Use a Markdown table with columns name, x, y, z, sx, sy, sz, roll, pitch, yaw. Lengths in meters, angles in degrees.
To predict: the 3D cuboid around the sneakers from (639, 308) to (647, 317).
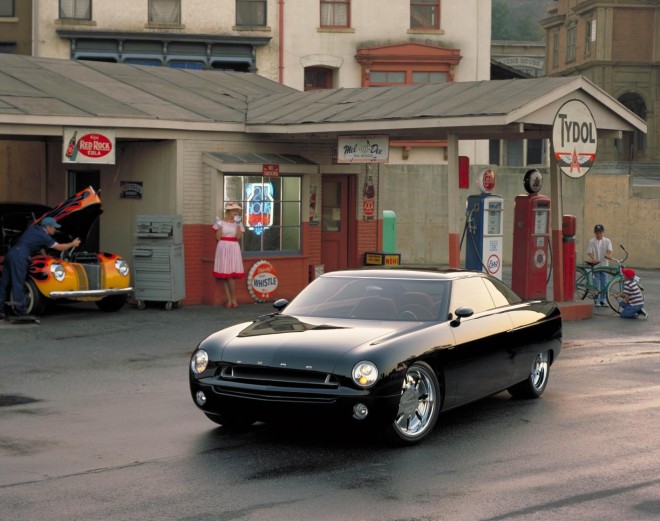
| name | x | y | z | sx | sy | sz | roll | pitch | yaw |
| --- | --- | --- | --- | --- | --- | --- | --- | --- | --- |
| sneakers | 6.085 | 1.009 | 20.314 | 0.109 | 0.223 | 0.124 | 8 | 19 | 44 |

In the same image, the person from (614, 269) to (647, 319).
| name | x | y | z | sx | sy | sz | roll | pitch | yaw |
| --- | --- | --- | --- | --- | --- | --- | --- | --- | --- |
| person | 6.029 | 0.614 | 20.671 | 0.544 | 1.006 | 1.599 | 2 | 7 | 17 |

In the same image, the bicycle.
| name | x | y | z | sx | sy | sz | roll | pitch | yaw |
| --- | --- | --- | --- | --- | --- | --- | --- | --- | --- |
| bicycle | 5.588 | 0.370 | 21.540 | 0.862 | 1.304 | 1.887 | -2 | 11 | -45 |

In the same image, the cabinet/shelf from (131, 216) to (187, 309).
| name | x | y | z | sx | sy | sz | roll | pitch | yaw |
| --- | --- | --- | --- | --- | --- | --- | --- | --- | --- |
| cabinet/shelf | -3.411 | -0.003 | 20.744 | 0.855 | 1.846 | 0.860 | 1 | 4 | 8 |

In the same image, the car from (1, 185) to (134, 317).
| name | x | y | z | sx | sy | sz | roll | pitch | yaw |
| --- | --- | --- | --- | --- | --- | --- | --- | --- | --- |
| car | -4.601 | -0.117 | 19.131 | 2.827 | 1.915 | 1.542 | 2 | 3 | 42 |
